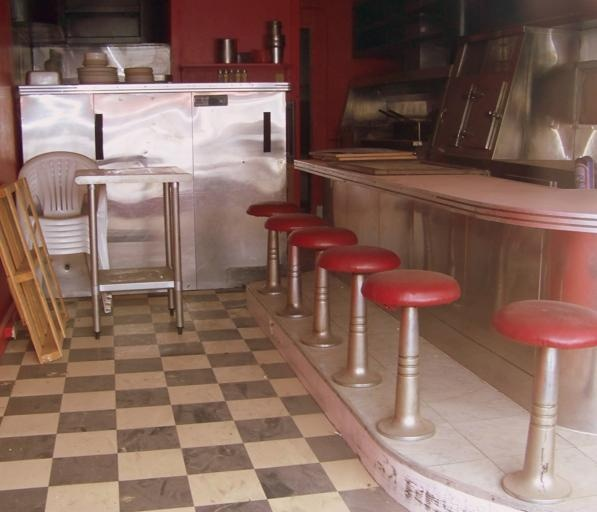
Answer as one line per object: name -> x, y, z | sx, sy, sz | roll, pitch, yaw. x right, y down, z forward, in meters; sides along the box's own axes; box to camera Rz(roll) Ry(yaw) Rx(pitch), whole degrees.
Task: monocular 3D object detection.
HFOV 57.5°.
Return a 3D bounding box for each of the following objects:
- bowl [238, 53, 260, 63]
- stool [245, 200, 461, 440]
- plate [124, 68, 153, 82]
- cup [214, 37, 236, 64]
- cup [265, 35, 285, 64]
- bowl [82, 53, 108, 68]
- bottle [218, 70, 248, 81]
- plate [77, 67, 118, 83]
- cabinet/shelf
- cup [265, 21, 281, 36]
bowl -> -0.557, -2.264, 6.227 | 0.254, 0.137, 0.157 | 0, 12, -1
stool -> 0.313, 0.373, 3.088 | 0.386, 0.469, 1.449 | -2, 10, -14
plate -> -1.494, -1.700, 5.118 | 0.253, 0.154, 0.275 | -3, 12, -15
cup -> -0.815, -2.303, 6.142 | 0.241, 0.276, 0.125 | -1, 14, -6
cup -> -0.265, -2.362, 6.231 | 0.201, 0.326, 0.160 | 0, 14, -2
bowl -> -1.910, -1.816, 5.102 | 0.171, 0.088, 0.164 | 2, 19, -1
bottle -> -0.780, -2.101, 6.347 | 0.249, 0.096, 0.117 | 0, 17, -3
plate -> -1.855, -1.668, 5.041 | 0.333, 0.101, 0.294 | -1, 11, -7
cabinet/shelf -> -1.268, -0.067, 4.244 | 0.756, 1.207, 1.000 | -4, 14, -19
cup -> -0.277, -2.596, 6.215 | 0.175, 0.184, 0.137 | 0, 13, -3
